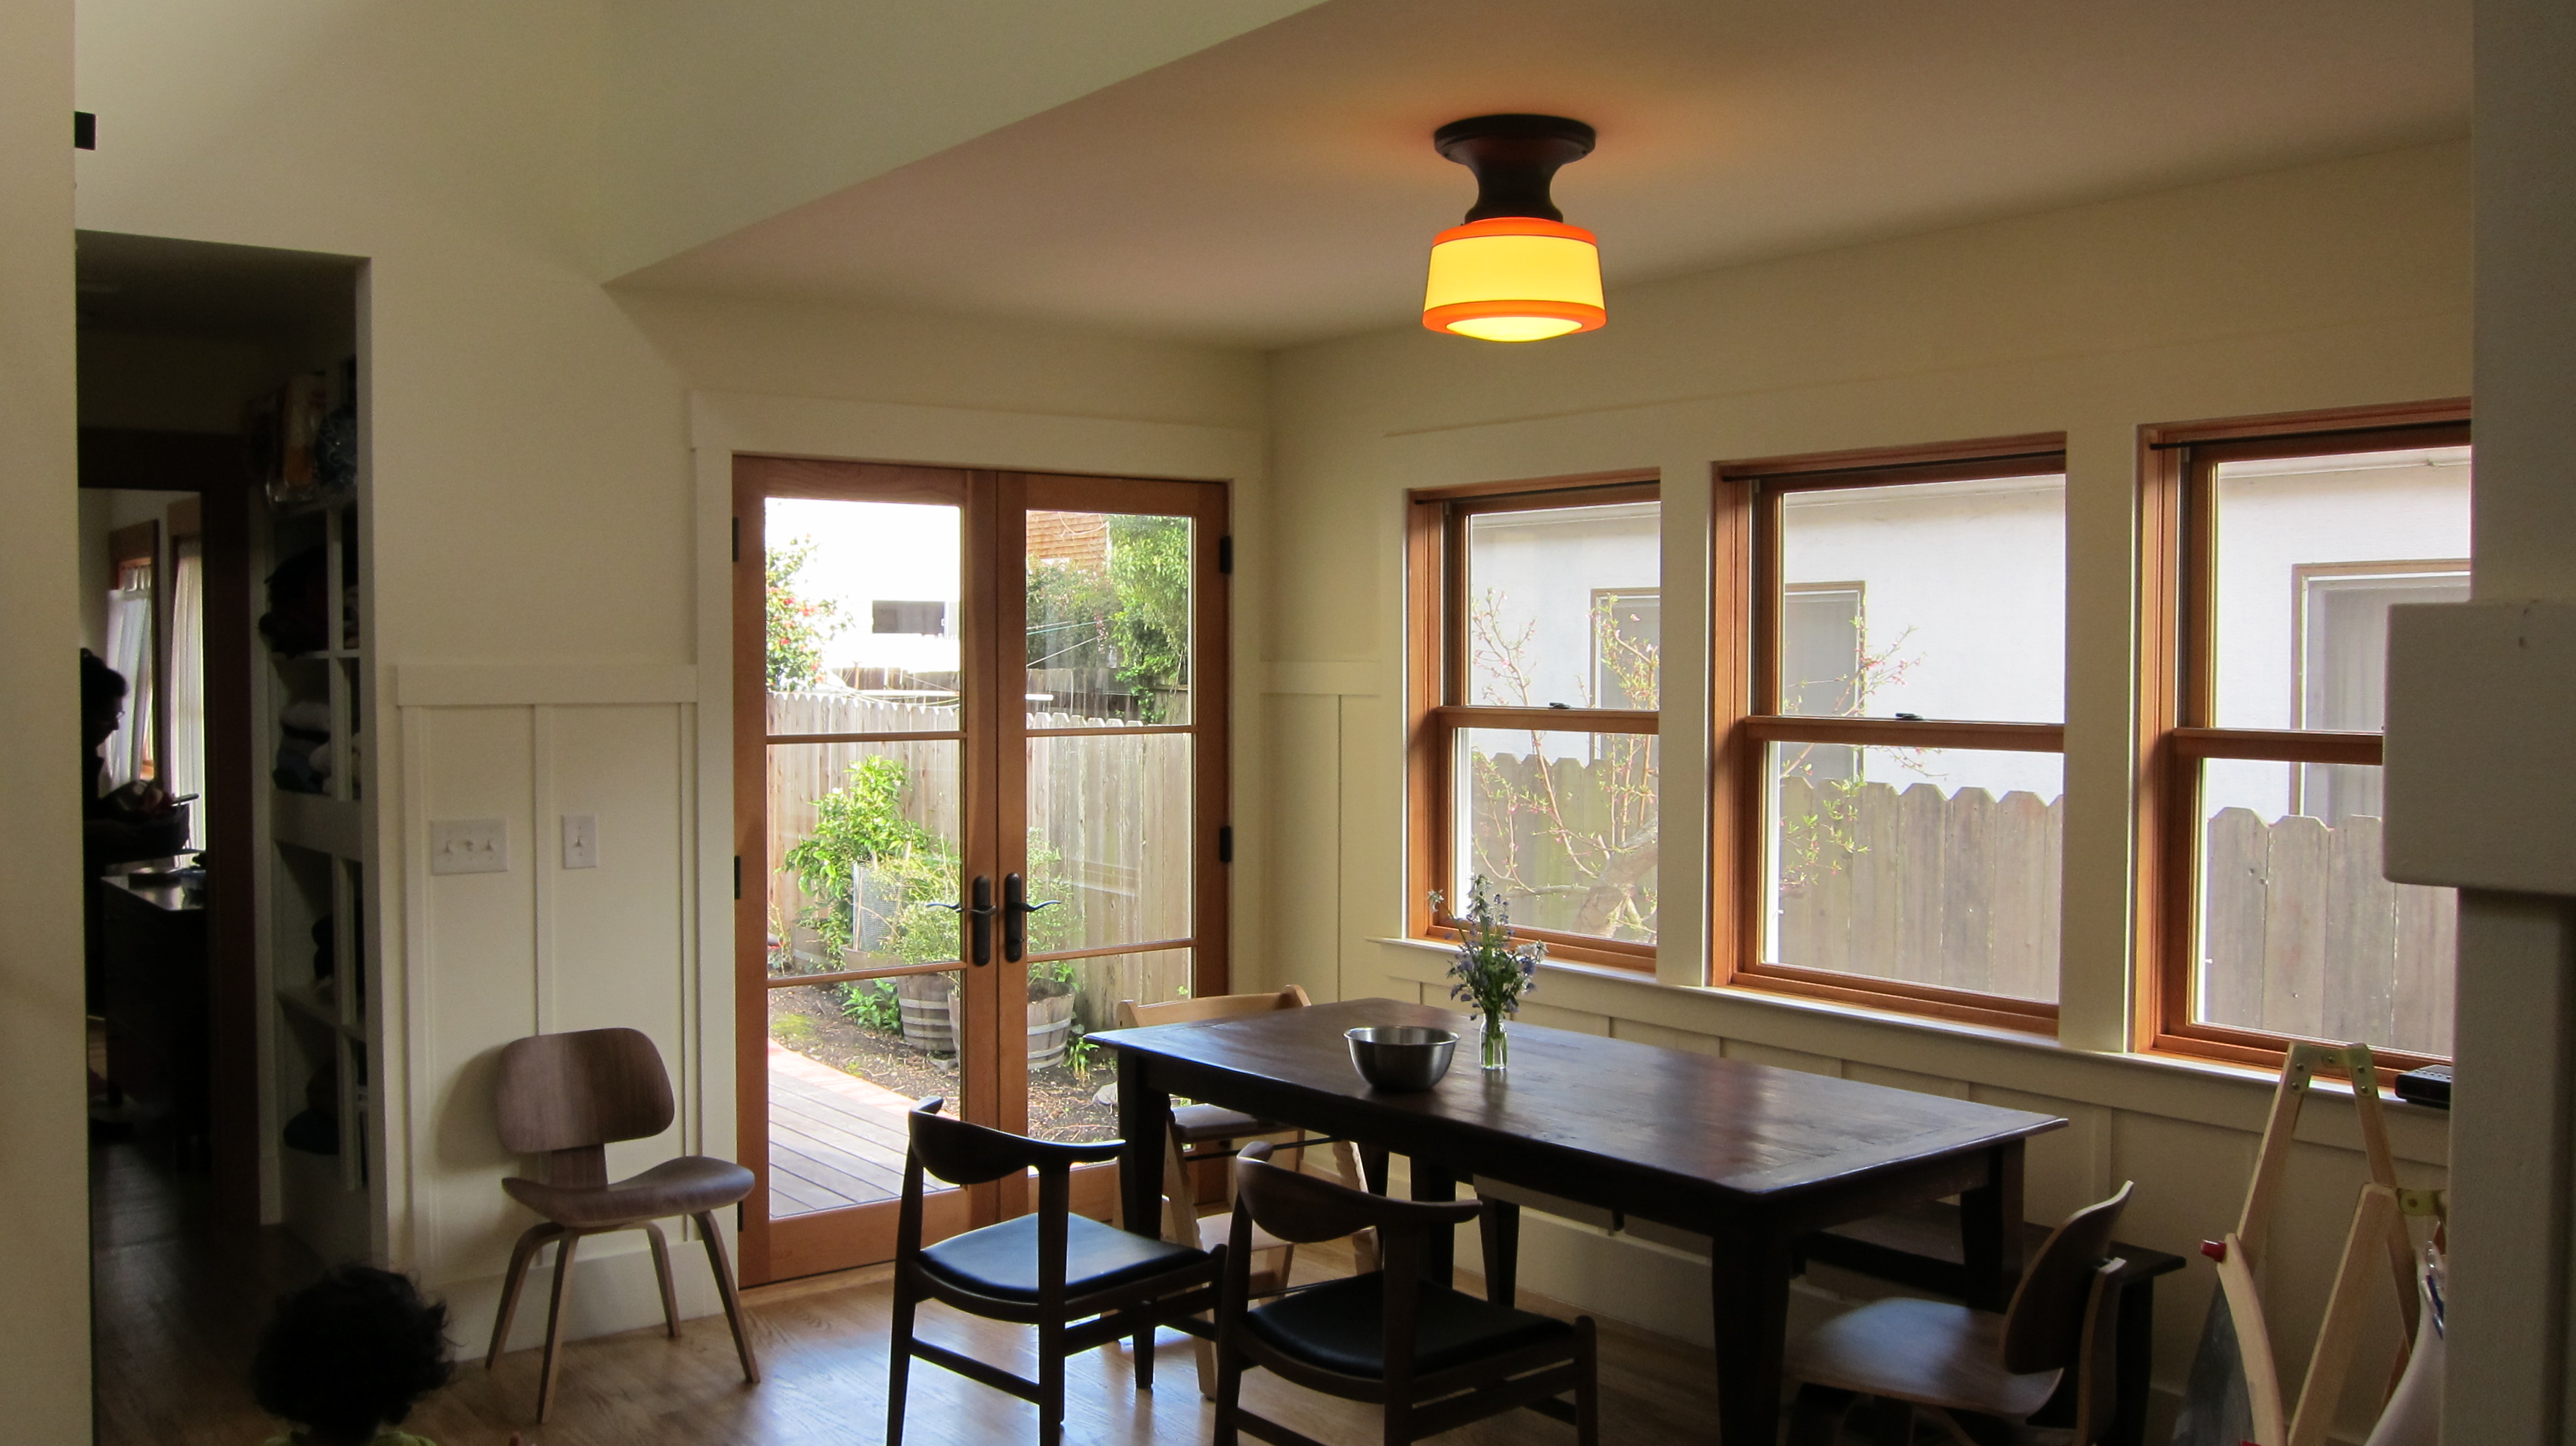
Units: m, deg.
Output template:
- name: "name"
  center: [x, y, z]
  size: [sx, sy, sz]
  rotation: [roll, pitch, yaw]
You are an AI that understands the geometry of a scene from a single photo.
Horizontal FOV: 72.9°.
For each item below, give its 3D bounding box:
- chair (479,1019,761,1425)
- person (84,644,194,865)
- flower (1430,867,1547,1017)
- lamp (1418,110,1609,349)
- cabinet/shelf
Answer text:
- name: "chair"
  center: [-2.263, 1.613, 5.812]
  size: [0.745, 0.989, 0.737]
  rotation: [1, -1, 45]
- name: "person"
  center: [-5.963, 0.206, 9.018]
  size: [0.412, 1.103, 1.344]
  rotation: [0, 2, -33]
- name: "flower"
  center: [0.648, 0.737, 5.454]
  size: [0.273, 0.368, 0.289]
  rotation: [3, 14, 42]
- name: "lamp"
  center: [0.608, -1.345, 4.940]
  size: [0.571, 0.544, 0.546]
  rotation: [0, -2, 5]
- name: "cabinet/shelf"
  center: [-3.598, 0.574, 6.416]
  size: [0.352, 2.862, 1.371]
  rotation: [1, 3, -31]
